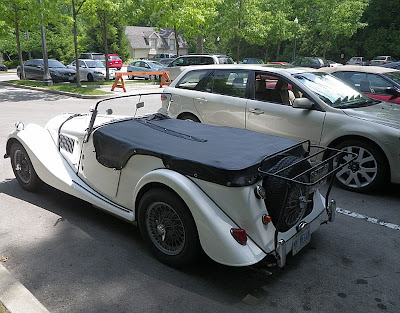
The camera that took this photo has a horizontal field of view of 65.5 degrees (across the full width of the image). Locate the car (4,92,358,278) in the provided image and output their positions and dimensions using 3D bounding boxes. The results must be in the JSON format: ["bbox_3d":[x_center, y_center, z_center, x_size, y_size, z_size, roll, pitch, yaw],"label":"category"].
[{"bbox_3d":[-0.731,0.009,4.221,4.868,1.632,1.644,15,26,33],"label":"car"}]

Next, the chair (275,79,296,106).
[{"bbox_3d":[1.643,-1.237,6.038,0.399,0.521,0.358,22,36,36],"label":"chair"}]

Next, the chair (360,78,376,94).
[{"bbox_3d":[4.042,-1.698,7.540,0.220,0.388,0.354,8,25,24],"label":"chair"}]

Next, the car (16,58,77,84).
[{"bbox_3d":[-10.924,-6.098,22.133,4.565,1.508,1.786,14,25,31],"label":"car"}]

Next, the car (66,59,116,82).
[{"bbox_3d":[-8.496,-6.841,23.804,4.813,1.674,2.126,13,17,42],"label":"car"}]
